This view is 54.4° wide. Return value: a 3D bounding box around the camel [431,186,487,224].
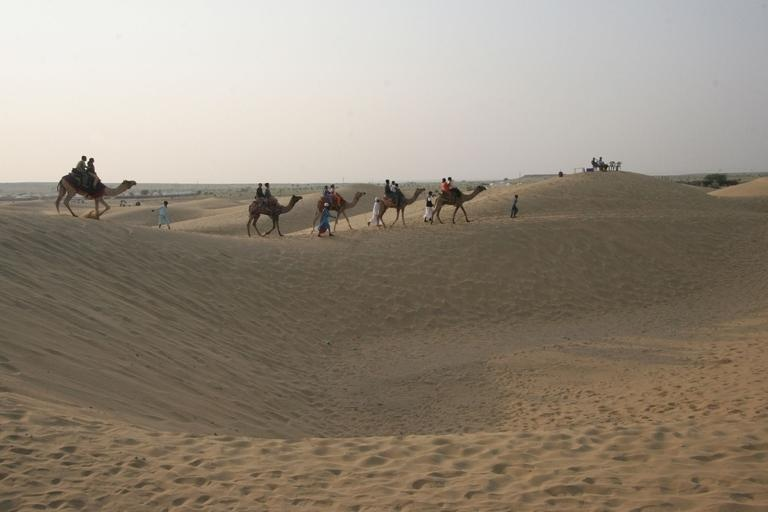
[{"bbox_3d":[3.237,-2.273,32.624,2.157,1.569,5.381,0,5,4],"label":"camel"}]
